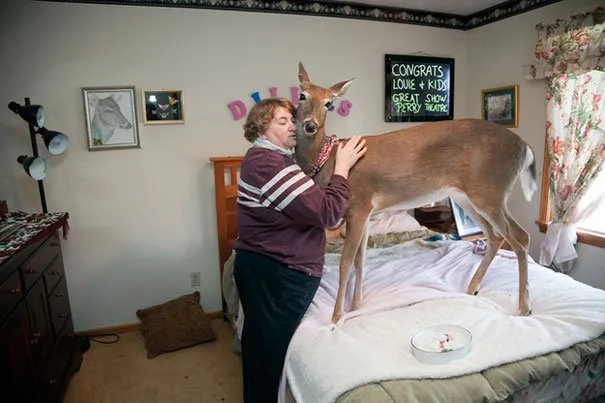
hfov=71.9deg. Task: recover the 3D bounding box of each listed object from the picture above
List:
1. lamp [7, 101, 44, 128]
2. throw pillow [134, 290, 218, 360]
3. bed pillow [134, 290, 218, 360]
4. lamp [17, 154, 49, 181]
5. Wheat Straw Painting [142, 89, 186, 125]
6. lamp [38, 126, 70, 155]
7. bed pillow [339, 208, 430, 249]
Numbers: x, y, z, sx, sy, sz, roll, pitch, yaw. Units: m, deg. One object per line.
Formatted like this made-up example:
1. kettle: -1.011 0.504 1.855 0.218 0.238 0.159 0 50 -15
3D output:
1. lamp: -2.427 -0.789 3.735 0.303 0.198 0.190 19 25 0
2. throw pillow: -1.380 1.252 4.570 0.790 0.491 0.429 5 15 -19
3. bed pillow: -1.371 1.246 4.554 0.790 0.491 0.429 5 15 -19
4. lamp: -2.455 -0.294 3.810 0.169 0.241 0.281 -16 19 -43
5. Wheat Straw Painting: -1.455 -0.990 4.358 0.406 0.345 0.069 -5 13 -7
6. lamp: -2.311 -0.563 3.874 0.144 0.245 0.186 7 17 37
7. bed pillow: 0.974 0.266 4.758 0.894 0.481 0.646 -4 10 -5
